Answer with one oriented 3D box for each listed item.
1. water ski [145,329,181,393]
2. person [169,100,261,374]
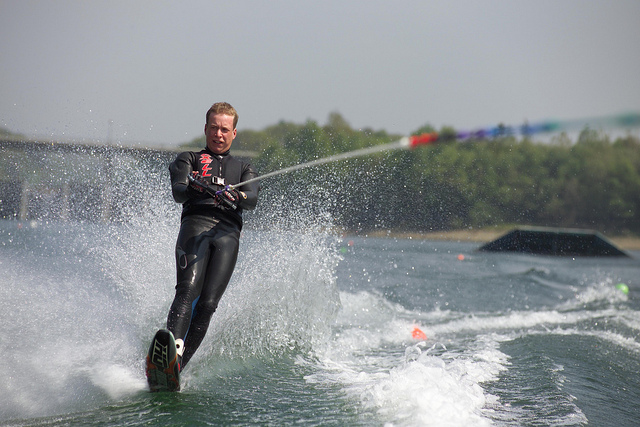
[{"bbox_3d":[-1.920,1.826,8.928,0.414,0.801,0.203,-1,10,-10],"label":"water ski"},{"bbox_3d":[-1.382,0.310,9.452,1.107,3.460,1.160,0,9,-8],"label":"person"}]
